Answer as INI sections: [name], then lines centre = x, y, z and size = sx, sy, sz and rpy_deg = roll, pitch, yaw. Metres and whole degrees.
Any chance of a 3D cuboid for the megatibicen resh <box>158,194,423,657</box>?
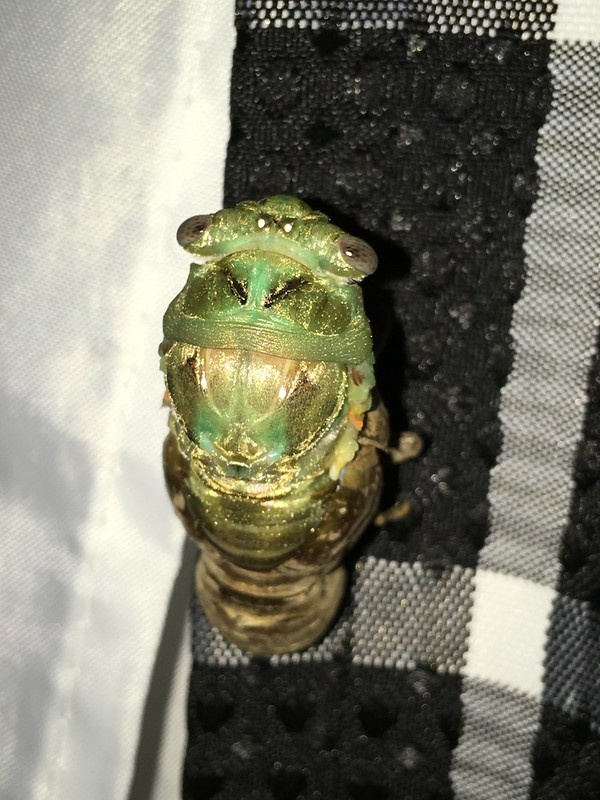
[megatibicen resh]
centre = 0.001, 0.021, 0.867
size = 0.290, 0.122, 0.330
rpy_deg = 9, 108, 6
